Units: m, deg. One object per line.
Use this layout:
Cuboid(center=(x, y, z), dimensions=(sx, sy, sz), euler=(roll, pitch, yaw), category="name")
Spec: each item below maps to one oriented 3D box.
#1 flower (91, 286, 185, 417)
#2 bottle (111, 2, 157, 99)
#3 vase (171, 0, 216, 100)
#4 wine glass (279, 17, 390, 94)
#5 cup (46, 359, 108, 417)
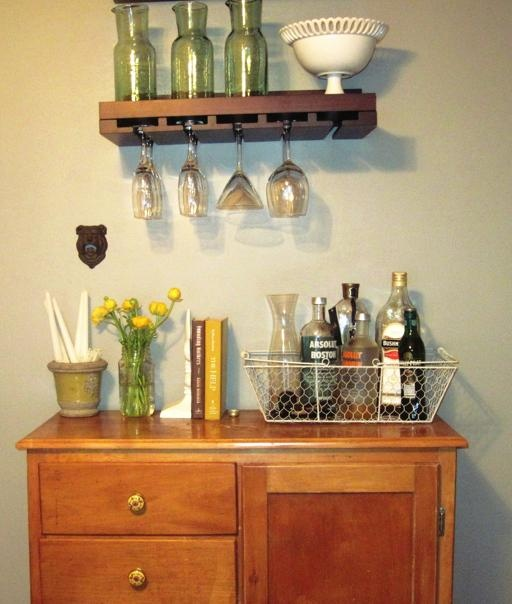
Cuboid(center=(-0.284, 0.138, 1.916), dimensions=(0.268, 0.301, 0.242), euler=(2, -8, -40), category="flower")
Cuboid(center=(-0.295, -0.595, 1.800), dimensions=(0.101, 0.229, 0.174), euler=(-5, 13, -8), category="bottle")
Cuboid(center=(-0.154, -0.593, 1.770), dimensions=(0.102, 0.225, 0.112), euler=(-4, 13, -5), category="vase")
Cuboid(center=(0.184, -0.570, 1.752), dimensions=(0.247, 0.163, 0.094), euler=(-2, 13, 4), category="wine glass")
Cuboid(center=(-0.437, 0.206, 1.842), dimensions=(0.153, 0.120, 0.139), euler=(-1, -3, 0), category="cup")
